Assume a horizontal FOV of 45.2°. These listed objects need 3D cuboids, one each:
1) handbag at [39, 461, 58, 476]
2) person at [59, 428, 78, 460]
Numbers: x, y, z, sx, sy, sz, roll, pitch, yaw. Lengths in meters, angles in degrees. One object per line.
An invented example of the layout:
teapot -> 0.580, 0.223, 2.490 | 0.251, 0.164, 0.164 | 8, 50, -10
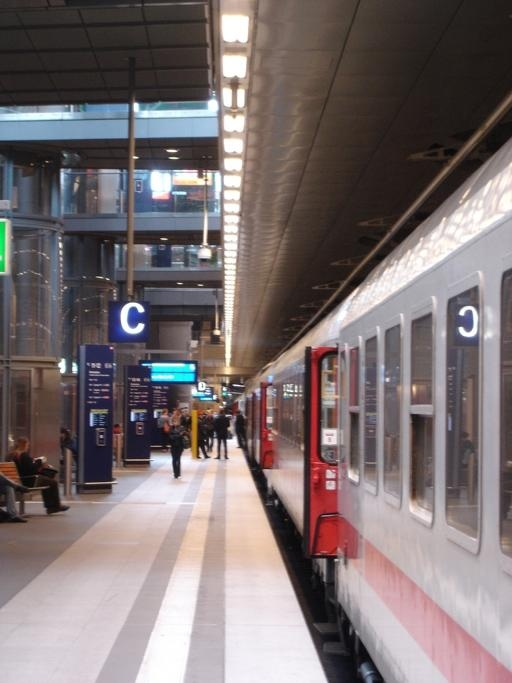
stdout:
handbag -> -4.536, 2.792, 13.331 | 0.551, 0.264, 0.620 | 11, -16, -16
person -> -5.310, 2.935, 17.212 | 0.638, 0.753, 1.729 | 1, 0, -11
